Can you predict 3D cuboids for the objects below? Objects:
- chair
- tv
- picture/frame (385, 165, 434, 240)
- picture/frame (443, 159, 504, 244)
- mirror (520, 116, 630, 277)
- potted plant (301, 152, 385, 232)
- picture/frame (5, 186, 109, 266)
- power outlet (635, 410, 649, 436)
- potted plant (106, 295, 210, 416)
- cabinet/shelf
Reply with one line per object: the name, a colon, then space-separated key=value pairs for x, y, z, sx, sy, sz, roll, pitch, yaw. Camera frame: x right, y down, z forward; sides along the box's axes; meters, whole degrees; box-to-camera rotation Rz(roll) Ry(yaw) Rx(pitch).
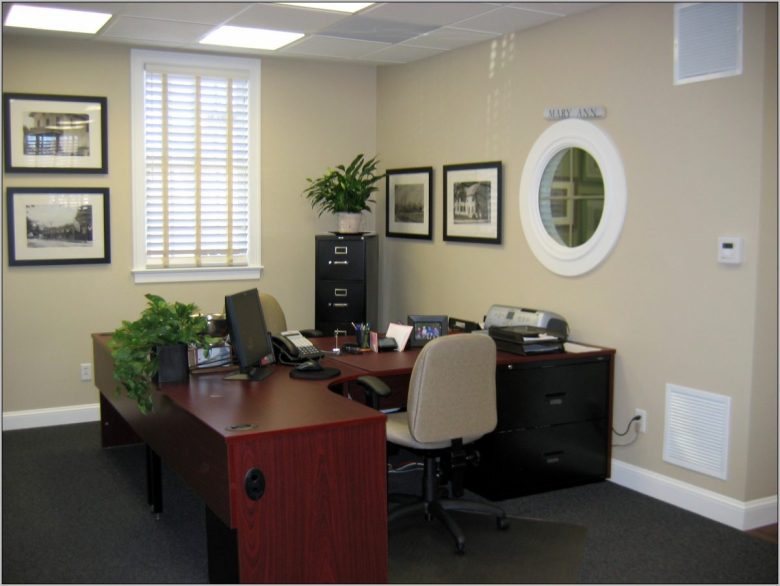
chair: x=0.278 y=0.804 z=3.461 sx=0.706 sy=1.137 sz=0.779 roll=0 pitch=0 yaw=15
tv: x=-0.801 y=0.224 z=3.297 sx=0.159 sy=0.469 sz=0.461 roll=-6 pitch=4 yaw=6
picture/frame: x=0.202 y=-0.867 z=5.639 sx=0.032 sy=0.785 sz=0.640 roll=-5 pitch=9 yaw=-36
picture/frame: x=0.719 y=-0.769 z=4.975 sx=0.025 sy=0.743 sz=0.684 roll=-3 pitch=4 yaw=-33
mirror: x=1.345 y=-0.689 z=4.222 sx=0.101 sy=1.399 sz=1.124 roll=-3 pitch=2 yaw=-33
potted plant: x=-0.450 y=-0.946 z=5.863 sx=0.755 sy=0.612 sz=0.802 roll=-3 pitch=11 yaw=-2
picture/frame: x=-2.829 y=-0.569 z=4.974 sx=0.603 sy=0.588 sz=0.030 roll=-1 pitch=0 yaw=-26
power outlet: x=1.678 y=0.855 z=3.945 sx=0.022 sy=0.164 sz=0.087 roll=-4 pitch=9 yaw=-29
potted plant: x=-1.195 y=0.286 z=3.154 sx=0.534 sy=0.563 sz=0.558 roll=0 pitch=1 yaw=-21
cabinet/shelf: x=-0.417 y=-0.084 z=5.530 sx=0.550 sy=0.932 sz=0.286 roll=-1 pitch=8 yaw=-12
